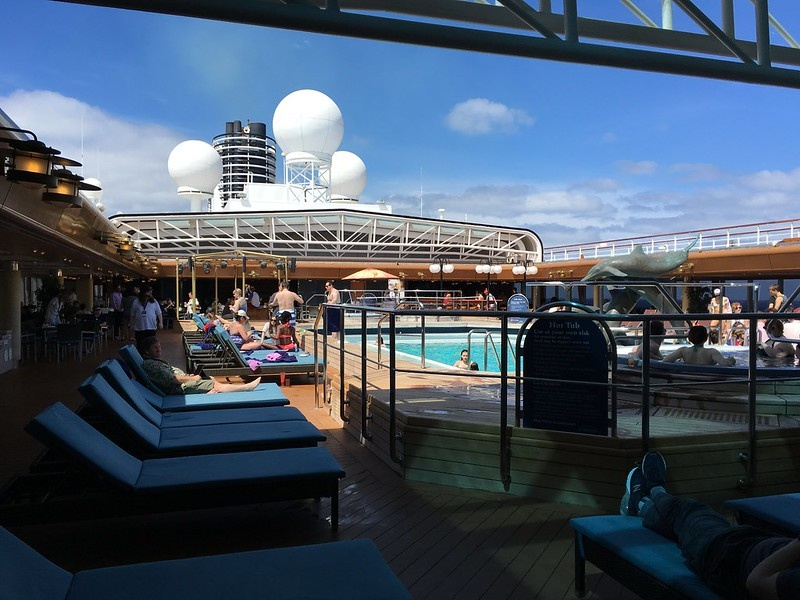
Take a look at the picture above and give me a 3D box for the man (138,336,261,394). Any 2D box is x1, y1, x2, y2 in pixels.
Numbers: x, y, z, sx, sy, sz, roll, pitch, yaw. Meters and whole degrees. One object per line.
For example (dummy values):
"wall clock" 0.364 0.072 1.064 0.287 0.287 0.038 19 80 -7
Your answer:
"man" -2.269 0.768 6.665 1.396 0.626 0.562 2 9 -10

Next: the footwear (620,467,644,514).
"footwear" 1.536 1.283 3.871 0.117 0.349 0.149 6 -36 24

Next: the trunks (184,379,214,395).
"trunks" -2.272 0.974 6.535 0.236 0.099 0.143 1 -5 -14

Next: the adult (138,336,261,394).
"adult" -2.271 0.764 6.688 1.379 0.616 0.565 2 9 -14

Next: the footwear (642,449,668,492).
"footwear" 1.709 1.138 3.954 0.148 0.274 0.116 2 -26 7

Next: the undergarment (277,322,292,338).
"undergarment" -2.231 0.595 11.383 0.382 0.353 0.219 0 8 -9

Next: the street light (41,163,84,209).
"street light" -3.791 -1.285 6.523 0.420 0.310 0.417 17 7 -1
